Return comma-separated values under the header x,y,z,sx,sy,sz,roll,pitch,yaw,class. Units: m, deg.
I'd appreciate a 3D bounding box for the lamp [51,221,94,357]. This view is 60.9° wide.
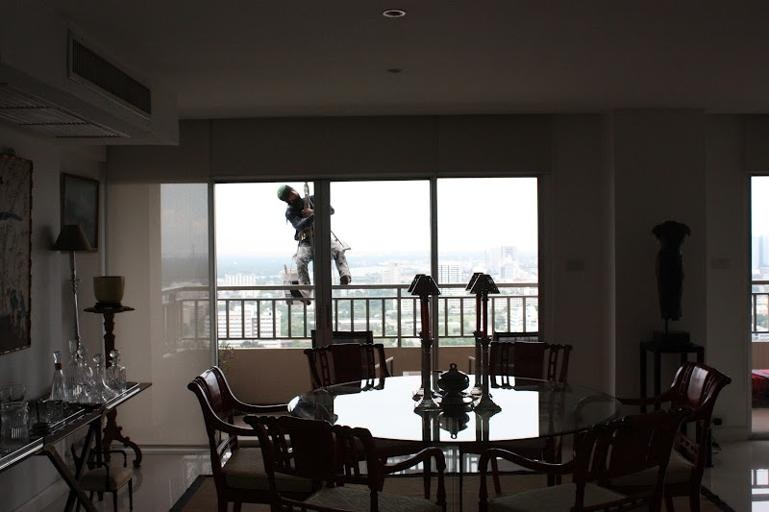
x,y,z,sx,sy,sz,roll,pitch,yaw,class
-2.653,0.244,5.614,0.270,1.062,0.629,-1,-2,-20,lamp

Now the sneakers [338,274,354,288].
x,y,z,sx,sy,sz,roll,pitch,yaw,class
-0.396,0.253,6.906,0.080,0.122,0.286,-2,-2,12,sneakers

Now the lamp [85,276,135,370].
x,y,z,sx,sy,sz,roll,pitch,yaw,class
-2.378,0.688,5.686,0.429,0.932,0.425,0,-3,-9,lamp

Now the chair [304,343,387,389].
x,y,z,sx,sy,sz,roll,pitch,yaw,class
-0.458,0.913,5.507,0.416,0.290,0.269,1,-17,-8,chair

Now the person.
x,y,z,sx,sy,sz,roll,pitch,yaw,class
-0.794,-0.137,7.231,0.653,1.370,1.430,-1,-2,-21,person
